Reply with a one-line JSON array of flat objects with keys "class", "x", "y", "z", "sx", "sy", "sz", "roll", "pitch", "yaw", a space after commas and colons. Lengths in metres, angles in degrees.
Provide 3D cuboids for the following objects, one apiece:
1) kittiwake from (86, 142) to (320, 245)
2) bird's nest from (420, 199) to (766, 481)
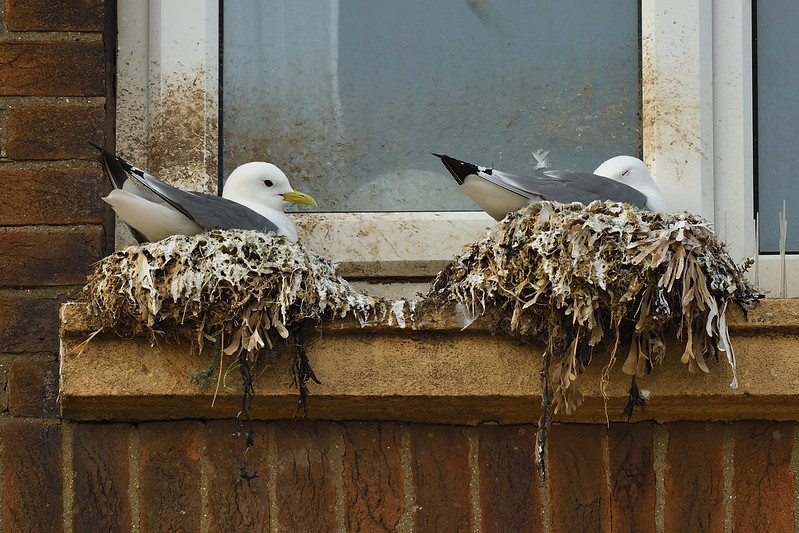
[{"class": "kittiwake", "x": -0.567, "y": -0.149, "z": 5.603, "sx": 0.617, "sy": 0.382, "sz": 0.241, "roll": 12, "pitch": -26, "yaw": -19}, {"class": "bird's nest", "x": 0.535, "y": 0.213, "z": 5.371, "sx": 0.895, "sy": 0.603, "sz": 0.813, "roll": 3, "pitch": -5, "yaw": -3}]
